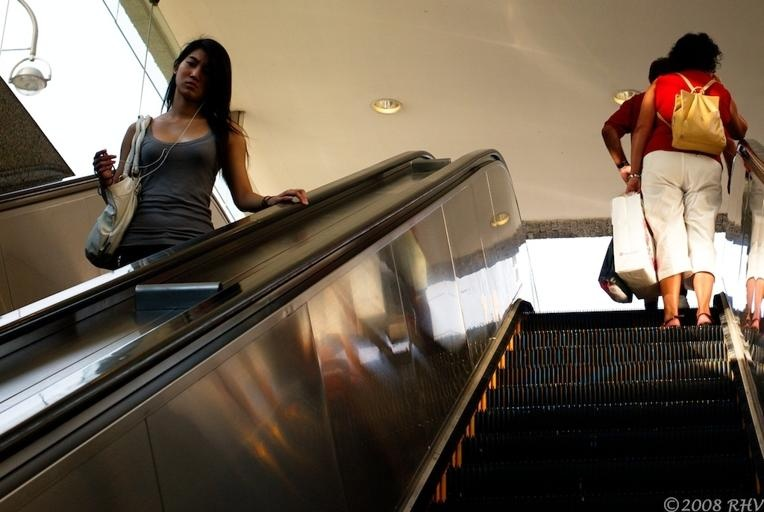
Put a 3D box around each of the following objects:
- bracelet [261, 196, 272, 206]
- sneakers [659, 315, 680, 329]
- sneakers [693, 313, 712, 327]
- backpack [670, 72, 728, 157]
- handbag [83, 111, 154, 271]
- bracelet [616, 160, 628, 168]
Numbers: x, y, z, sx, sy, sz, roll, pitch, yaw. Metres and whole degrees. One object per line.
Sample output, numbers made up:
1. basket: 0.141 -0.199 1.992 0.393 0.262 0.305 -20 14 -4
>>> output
1. bracelet: -0.636 -0.303 2.828 0.022 0.060 0.042 9 -50 8
2. sneakers: 1.988 0.452 3.582 0.115 0.047 0.064 -30 0 17
3. sneakers: 2.196 0.434 3.551 0.079 0.065 0.112 1 -25 16
4. backpack: 2.389 -1.095 3.948 0.365 0.609 0.330 5 -1 4
5. handbag: -1.321 -0.363 2.612 0.172 0.825 0.262 14 -19 -30
6. bracelet: 2.169 -0.834 4.692 0.074 0.057 0.075 -12 10 -17
